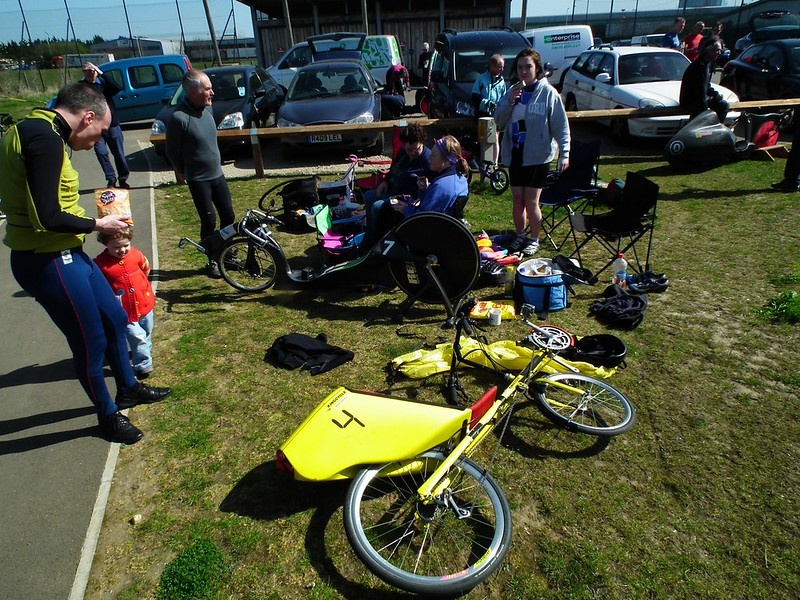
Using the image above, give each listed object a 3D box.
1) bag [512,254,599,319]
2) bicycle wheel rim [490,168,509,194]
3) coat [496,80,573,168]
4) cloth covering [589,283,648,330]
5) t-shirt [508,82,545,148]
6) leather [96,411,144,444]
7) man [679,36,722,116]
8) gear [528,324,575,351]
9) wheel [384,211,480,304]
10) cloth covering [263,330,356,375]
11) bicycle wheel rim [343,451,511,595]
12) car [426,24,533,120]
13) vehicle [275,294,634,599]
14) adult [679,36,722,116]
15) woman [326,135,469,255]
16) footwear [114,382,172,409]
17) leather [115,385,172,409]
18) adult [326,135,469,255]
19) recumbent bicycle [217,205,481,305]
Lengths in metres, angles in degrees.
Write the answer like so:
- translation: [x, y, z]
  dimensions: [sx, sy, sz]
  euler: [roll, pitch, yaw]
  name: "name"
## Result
- translation: [1.570, -0.206, 5.581]
  dimensions: [0.817, 0.425, 0.658]
  euler: [-3, 30, -1]
  name: "bag"
- translation: [1.576, -1.907, 9.097]
  dimensions: [0.483, 0.455, 0.470]
  euler: [1, 10, 9]
  name: "bicycle wheel rim"
- translation: [1.441, -1.924, 6.204]
  dimensions: [0.424, 0.906, 0.839]
  euler: [-21, 28, -35]
  name: "coat"
- translation: [2.051, 0.080, 5.379]
  dimensions: [0.464, 0.156, 0.456]
  euler: [15, 37, 34]
  name: "cloth covering"
- translation: [1.307, -1.989, 6.134]
  dimensions: [0.257, 0.588, 0.450]
  euler: [15, -1, -39]
  name: "t-shirt"
- translation: [-2.094, 0.969, 4.249]
  dimensions: [0.419, 0.182, 0.162]
  euler: [12, 32, 14]
  name: "leather"
- translation: [4.845, -3.542, 9.082]
  dimensions: [0.653, 1.215, 0.972]
  euler: [7, 25, 24]
  name: "man"
- translation: [1.074, 0.303, 4.107]
  dimensions: [0.231, 0.053, 0.230]
  euler: [19, 36, 32]
  name: "gear"
- translation: [0.265, -0.359, 5.098]
  dimensions: [0.914, 0.895, 0.224]
  euler: [12, 28, 33]
  name: "wheel"
- translation: [-0.799, 0.461, 5.005]
  dimensions: [0.502, 0.089, 0.414]
  euler: [5, 30, -3]
  name: "cloth covering"
- translation: [0.177, 1.333, 3.483]
  dimensions: [0.977, 0.607, 0.884]
  euler: [0, 22, 9]
  name: "bicycle wheel rim"
- translation: [1.593, -4.832, 11.712]
  dimensions: [1.920, 1.535, 2.867]
  euler: [-4, 32, -5]
  name: "car"
- translation: [0.494, 0.932, 3.806]
  dimensions: [2.212, 0.460, 1.710]
  euler: [-26, 41, -29]
  name: "vehicle"
- translation: [4.842, -3.536, 9.068]
  dimensions: [0.647, 1.215, 0.943]
  euler: [7, 25, 23]
  name: "adult"
- translation: [0.137, -1.006, 5.737]
  dimensions: [1.696, 1.685, 0.698]
  euler: [2, 59, 2]
  name: "woman"
- translation: [-2.065, 0.749, 4.617]
  dimensions: [0.417, 0.176, 0.152]
  euler: [-10, 34, -28]
  name: "footwear"
- translation: [-2.059, 0.749, 4.621]
  dimensions: [0.413, 0.171, 0.150]
  euler: [-10, 33, -28]
  name: "leather"
- translation: [0.163, -0.993, 5.735]
  dimensions: [1.696, 1.685, 0.698]
  euler: [2, 59, 2]
  name: "adult"
- translation: [-0.545, -0.437, 5.813]
  dimensions: [3.333, 1.065, 0.816]
  euler: [-1, 34, 15]
  name: "recumbent bicycle"
